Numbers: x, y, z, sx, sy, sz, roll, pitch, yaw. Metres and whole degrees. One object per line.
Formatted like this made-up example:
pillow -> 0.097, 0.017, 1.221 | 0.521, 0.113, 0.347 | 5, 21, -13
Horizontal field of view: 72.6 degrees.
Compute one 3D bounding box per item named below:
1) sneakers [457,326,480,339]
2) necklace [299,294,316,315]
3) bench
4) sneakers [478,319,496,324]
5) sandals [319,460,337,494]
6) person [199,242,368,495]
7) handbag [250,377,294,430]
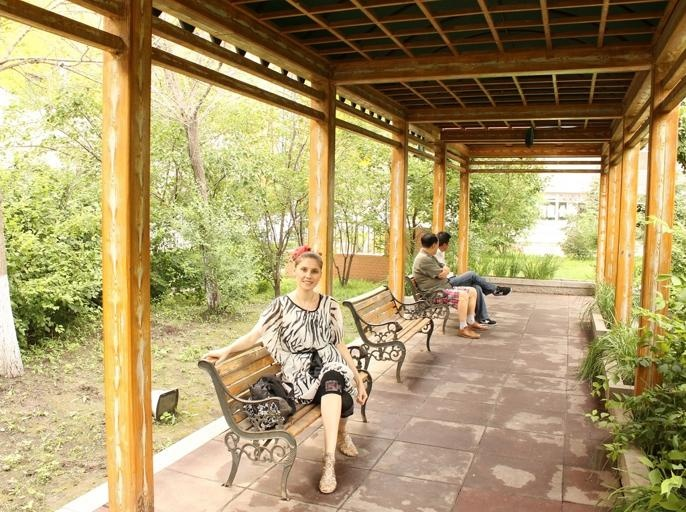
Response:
sneakers -> 1.876, 1.186, 7.082 | 0.136, 0.156, 0.384 | -3, -5, -34
necklace -> -0.259, 0.374, 3.446 | 0.103, 0.067, 0.131 | 2, 8, 9
bench -> 0.144, 0.916, 4.810 | 1.136, 1.129, 4.248 | 7, 3, 21
sneakers -> 2.392, 1.104, 7.782 | 0.330, 0.132, 0.119 | 0, 0, 5
sandals -> -0.102, 1.465, 3.199 | 0.127, 0.201, 0.308 | 2, 7, -1
person -> -0.274, 0.740, 3.458 | 0.831, 1.597, 0.772 | 4, 9, 16
handbag -> -0.483, 0.991, 3.205 | 0.275, 0.305, 0.308 | -10, 11, 13
